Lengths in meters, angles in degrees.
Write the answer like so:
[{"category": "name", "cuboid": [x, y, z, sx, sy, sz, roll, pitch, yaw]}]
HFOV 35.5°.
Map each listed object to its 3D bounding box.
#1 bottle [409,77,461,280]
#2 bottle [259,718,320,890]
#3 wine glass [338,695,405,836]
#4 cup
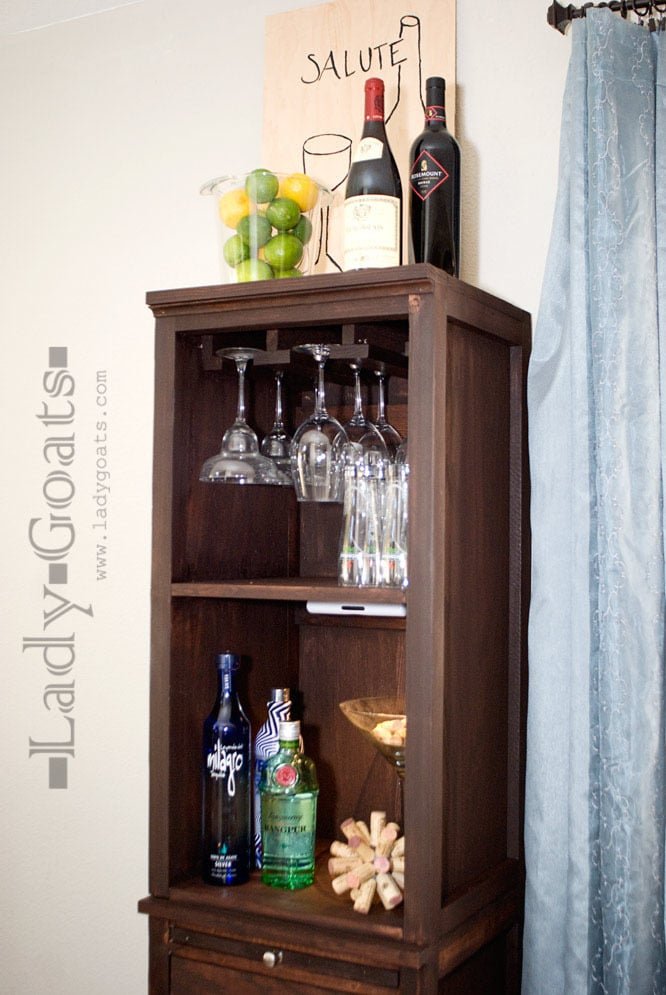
[{"category": "bottle", "cuboid": [0.142, -0.454, 1.446, 0.067, 0.282, 0.040, -2, -3, 5]}, {"category": "bottle", "cuboid": [-0.061, 0.425, 1.463, 0.078, 0.223, 0.056, -2, -3, -6]}, {"category": "wine glass", "cuboid": [0.075, 0.391, 1.556, 0.159, 0.219, 0.170, -1, -11, 3]}, {"category": "cup", "cuboid": [-0.095, -0.377, 1.526, 0.156, 0.165, 0.137, -2, 3, -40]}]
